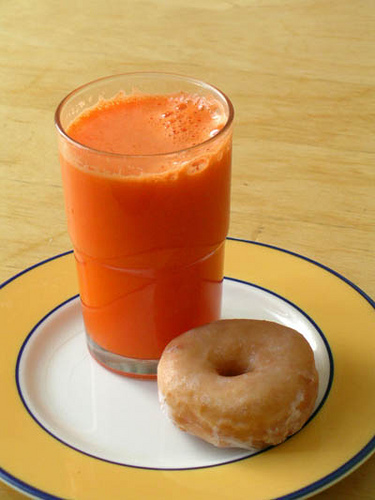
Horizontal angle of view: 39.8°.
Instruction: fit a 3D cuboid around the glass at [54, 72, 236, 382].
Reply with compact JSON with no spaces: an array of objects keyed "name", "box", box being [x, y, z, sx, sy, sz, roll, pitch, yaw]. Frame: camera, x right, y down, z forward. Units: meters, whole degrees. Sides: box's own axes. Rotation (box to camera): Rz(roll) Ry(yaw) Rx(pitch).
[{"name":"glass","box":[-0.057,-0.029,0.725,0.240,0.369,0.273,-12,40,-12]}]
